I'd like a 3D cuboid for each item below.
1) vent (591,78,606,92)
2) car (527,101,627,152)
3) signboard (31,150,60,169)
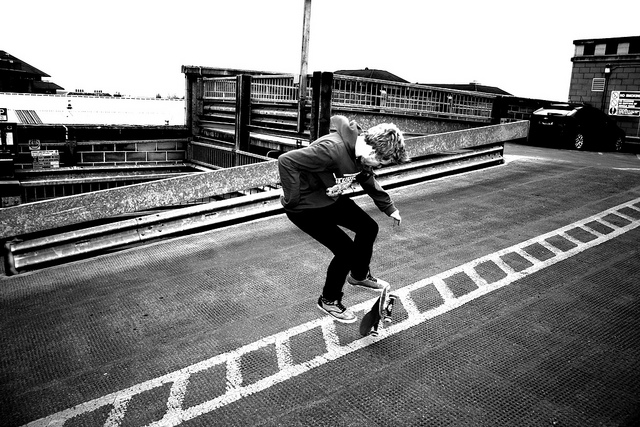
[{"bbox_3d":[22.114,-10.188,35.075,0.210,1.056,0.999,-11,19,-25],"label":"vent"},{"bbox_3d":[11.272,-3.919,19.758,5.013,2.161,1.229,-11,18,-22],"label":"car"},{"bbox_3d":[-9.623,-1.885,15.428,0.844,0.577,0.656,-11,19,-24],"label":"signboard"}]
